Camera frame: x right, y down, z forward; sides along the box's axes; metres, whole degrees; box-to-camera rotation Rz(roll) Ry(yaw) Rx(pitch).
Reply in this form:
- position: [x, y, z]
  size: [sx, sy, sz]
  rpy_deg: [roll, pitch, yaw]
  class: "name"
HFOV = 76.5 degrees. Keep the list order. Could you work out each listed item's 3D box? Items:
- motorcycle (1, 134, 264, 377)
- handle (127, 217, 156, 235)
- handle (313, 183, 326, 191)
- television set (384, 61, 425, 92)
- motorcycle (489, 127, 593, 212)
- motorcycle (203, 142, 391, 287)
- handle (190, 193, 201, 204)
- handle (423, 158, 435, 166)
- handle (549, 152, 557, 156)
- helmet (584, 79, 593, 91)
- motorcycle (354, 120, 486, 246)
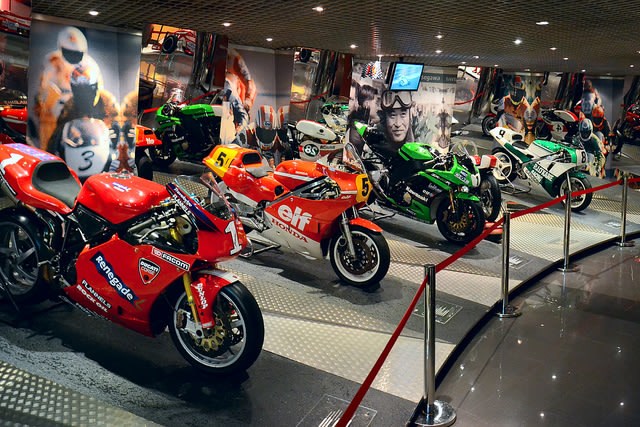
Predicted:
- position: [-1.508, 0.076, 4.155]
  size: [3.544, 1.854, 1.187]
  rpy_deg: [15, 18, 13]
  class: "motorcycle"
- position: [-1.434, 0.105, 3.278]
  size: [0.234, 0.155, 0.043]
  rpy_deg: [5, 16, 3]
  class: "handle"
- position: [-0.011, -0.305, 4.690]
  size: [0.137, 0.093, 0.032]
  rpy_deg: [11, 18, 23]
  class: "handle"
- position: [1.602, -2.604, 7.687]
  size: [0.937, 0.540, 0.186]
  rpy_deg: [-15, 29, -42]
  class: "television set"
- position: [4.748, -1.117, 8.862]
  size: [1.076, 1.500, 2.690]
  rpy_deg: [-7, 23, -19]
  class: "motorcycle"
- position: [-0.424, -0.140, 5.231]
  size: [2.930, 1.610, 0.924]
  rpy_deg: [16, 20, 31]
  class: "motorcycle"
- position: [-0.967, -0.113, 3.211]
  size: [0.101, 0.056, 0.047]
  rpy_deg: [30, 54, 32]
  class: "handle"
- position: [1.633, -0.766, 6.090]
  size: [0.193, 0.056, 0.066]
  rpy_deg: [-28, 41, 4]
  class: "handle"
- position: [4.775, -1.237, 8.353]
  size: [0.137, 0.041, 0.036]
  rpy_deg: [-19, 30, 34]
  class: "handle"
- position: [6.665, -3.229, 10.136]
  size: [0.242, 0.278, 0.085]
  rpy_deg: [-2, 17, -20]
  class: "helmet"
- position: [1.460, -0.594, 6.612]
  size: [2.593, 1.504, 0.787]
  rpy_deg: [23, 27, 37]
  class: "motorcycle"
